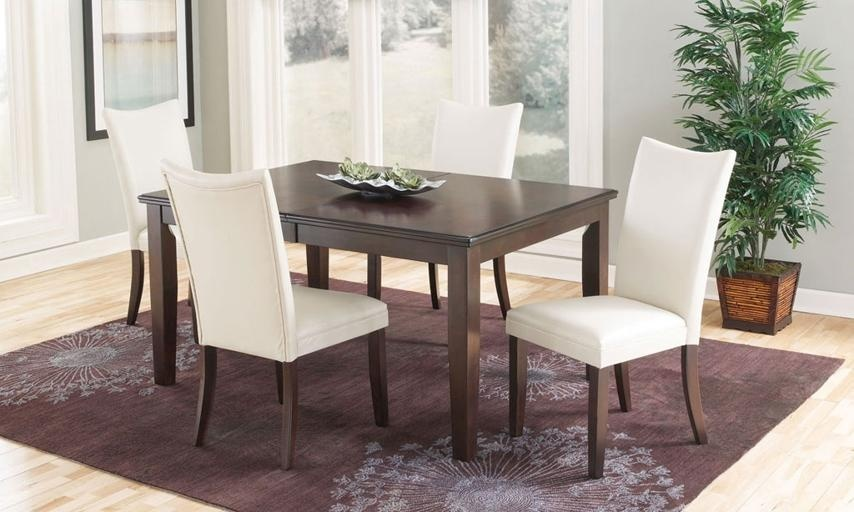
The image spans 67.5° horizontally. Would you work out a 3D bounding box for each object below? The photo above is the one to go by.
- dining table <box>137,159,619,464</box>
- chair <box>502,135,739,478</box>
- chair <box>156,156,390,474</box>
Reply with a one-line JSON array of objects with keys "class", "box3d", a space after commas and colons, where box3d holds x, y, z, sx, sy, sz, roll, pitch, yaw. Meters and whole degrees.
[{"class": "dining table", "box3d": [0.010, 0.417, 3.535, 2.224, 1.069, 1.639, 7, 12, 38]}, {"class": "chair", "box3d": [0.910, 0.198, 3.117, 0.924, 1.289, 0.738, -12, 14, -26]}, {"class": "chair", "box3d": [-0.672, 0.253, 2.952, 0.953, 1.349, 0.575, -4, 21, -4]}]
